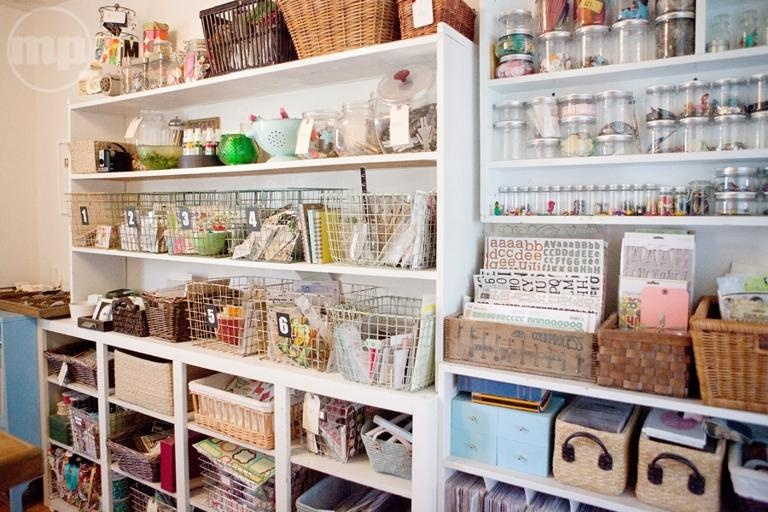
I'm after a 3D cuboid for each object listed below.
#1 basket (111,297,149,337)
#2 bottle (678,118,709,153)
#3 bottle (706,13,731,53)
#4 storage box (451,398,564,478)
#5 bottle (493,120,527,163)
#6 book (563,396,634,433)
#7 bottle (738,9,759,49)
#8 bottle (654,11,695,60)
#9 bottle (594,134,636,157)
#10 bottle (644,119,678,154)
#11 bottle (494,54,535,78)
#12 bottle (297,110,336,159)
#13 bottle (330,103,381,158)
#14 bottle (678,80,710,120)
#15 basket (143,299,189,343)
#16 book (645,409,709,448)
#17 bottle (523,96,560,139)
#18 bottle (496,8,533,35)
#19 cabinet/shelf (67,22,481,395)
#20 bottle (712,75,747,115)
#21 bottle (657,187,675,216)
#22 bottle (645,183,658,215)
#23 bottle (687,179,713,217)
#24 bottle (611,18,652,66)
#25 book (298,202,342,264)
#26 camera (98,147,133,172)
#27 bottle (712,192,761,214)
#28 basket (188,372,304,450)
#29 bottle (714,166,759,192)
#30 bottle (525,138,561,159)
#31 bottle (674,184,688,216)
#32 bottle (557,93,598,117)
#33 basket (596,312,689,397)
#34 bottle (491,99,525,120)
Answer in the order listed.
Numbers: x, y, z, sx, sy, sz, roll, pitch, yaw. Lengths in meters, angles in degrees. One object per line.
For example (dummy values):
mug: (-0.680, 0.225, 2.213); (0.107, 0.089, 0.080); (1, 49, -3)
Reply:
basket: (-1.526, 0.402, 3.475); (0.283, 0.250, 0.356); (-2, -5, -16)
bottle: (1.343, -0.526, 2.432); (0.111, 0.146, 0.066); (1, 7, 23)
bottle: (1.441, -0.958, 2.418); (0.087, 0.184, 0.145); (2, 7, 31)
storage box: (0.534, 0.821, 2.553); (0.481, 0.274, 0.318); (6, 8, 30)
bottle: (0.623, -0.573, 2.819); (0.192, 0.184, 0.187); (6, 9, 44)
book: (0.956, 0.711, 2.486); (0.215, 0.053, 0.204); (1, 5, 39)
bottle: (1.549, -0.966, 2.392); (0.074, 0.158, 0.054); (1, 7, 25)
bottle: (1.263, -0.959, 2.432); (0.189, 0.188, 0.182); (1, 8, 17)
bottle: (1.040, -0.499, 2.533); (0.122, 0.065, 0.117); (0, 4, 0)
bottle: (1.219, -0.520, 2.481); (0.145, 0.152, 0.144); (-6, 8, -41)
bottle: (0.618, -0.883, 2.686); (0.133, 0.076, 0.132); (0, 6, 0)
bottle: (-0.336, -0.637, 2.989); (0.269, 0.242, 0.195); (1, 2, -32)
bottle: (-0.140, -0.626, 2.808); (0.246, 0.243, 0.262); (1, 6, 4)
bottle: (1.353, -0.679, 2.445); (0.120, 0.161, 0.087); (1, 7, 26)
basket: (-1.293, 0.375, 3.333); (0.226, 0.200, 0.282); (-1, 7, -33)
book: (1.236, 0.726, 2.381); (0.228, 0.073, 0.200); (2, 7, 32)
bottle: (0.753, -0.648, 2.635); (0.198, 0.193, 0.192); (-5, 7, -24)
bottle: (0.619, -1.100, 2.687); (0.145, 0.083, 0.142); (-1, 3, 0)
cabinet/shelf: (-0.569, -0.251, 3.094); (2.709, 1.425, 0.479); (0, -1, 35)
bottle: (1.475, -0.678, 2.399); (0.111, 0.157, 0.068); (0, 7, 22)
bottle: (1.246, -0.240, 2.487); (0.069, 0.122, 0.069); (-2, 6, 0)
bottle: (1.205, -0.253, 2.526); (0.046, 0.133, 0.104); (1, 7, 25)
bottle: (1.394, -0.255, 2.479); (0.099, 0.148, 0.157); (2, 7, 31)
bottle: (1.110, -0.940, 2.538); (0.196, 0.205, 0.196); (9, 14, 43)
book: (-0.330, -0.115, 2.905); (0.194, 0.307, 0.109); (-3, 6, -10)
camera: (-1.782, -0.627, 3.710); (0.078, 0.152, 0.194); (9, 12, 22)
bottle: (1.496, -0.220, 2.379); (0.122, 0.075, 0.116); (0, 0, 0)
basket: (-0.762, 0.802, 3.063); (0.541, 0.202, 0.362); (3, 5, 34)
bottle: (1.511, -0.312, 2.408); (0.138, 0.085, 0.133); (0, 2, 0)
bottle: (0.753, -0.493, 2.649); (0.119, 0.064, 0.115); (-2, 6, 0)
bottle: (1.305, -0.240, 2.467); (0.056, 0.118, 0.041); (1, 7, 25)
bottle: (0.899, -0.677, 2.594); (0.126, 0.072, 0.126); (1, 4, 0)
basket: (1.086, 0.408, 2.365); (0.313, 0.179, 0.302); (3, 0, 14)
bottle: (0.611, -0.698, 2.715); (0.119, 0.068, 0.116); (0, 6, 0)
